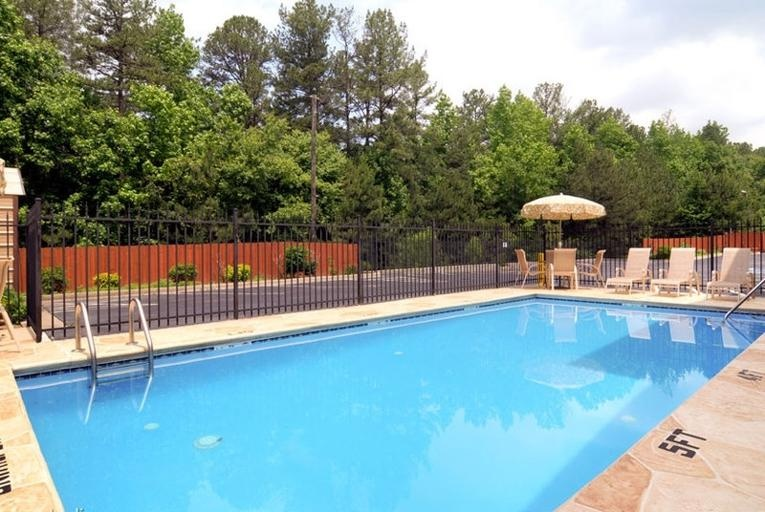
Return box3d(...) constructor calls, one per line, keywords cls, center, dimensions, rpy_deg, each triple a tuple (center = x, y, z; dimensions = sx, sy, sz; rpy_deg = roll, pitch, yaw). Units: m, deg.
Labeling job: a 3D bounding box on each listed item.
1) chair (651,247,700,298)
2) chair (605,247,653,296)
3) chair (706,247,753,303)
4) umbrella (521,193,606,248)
box3d(cls="chair", center=(11.532, 0.572, 22.959), dimensions=(1.639, 1.907, 4.520), rpy_deg=(1, 5, 26))
box3d(cls="chair", center=(9.812, 0.532, 23.143), dimensions=(1.409, 2.194, 3.024), rpy_deg=(-1, 0, 40))
box3d(cls="chair", center=(12.237, 0.590, 20.358), dimensions=(1.847, 1.711, 1.087), rpy_deg=(-6, 5, -43))
box3d(cls="umbrella", center=(7.612, -1.490, 24.384), dimensions=(2.692, 2.275, 2.661), rpy_deg=(3, 6, 43))
